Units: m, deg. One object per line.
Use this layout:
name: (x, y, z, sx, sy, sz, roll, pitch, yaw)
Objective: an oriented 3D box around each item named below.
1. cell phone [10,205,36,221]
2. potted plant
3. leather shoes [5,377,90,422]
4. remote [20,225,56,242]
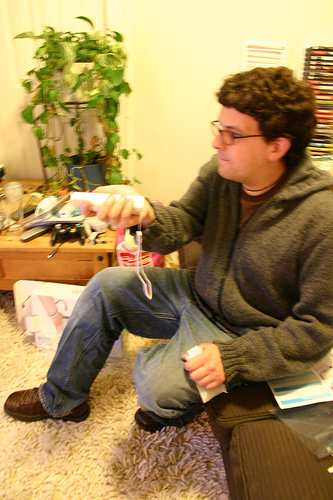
cell phone: (-0.650, -0.165, 1.674, 0.094, 0.021, 0.050, -24, 55, -28)
potted plant: (-0.412, -0.694, 1.705, 0.444, 0.825, 0.505, -22, 54, -20)
leather shoes: (-0.361, 0.478, 1.164, 0.252, 0.105, 0.107, 9, 28, -8)
remote: (-0.517, -0.072, 1.486, 0.040, 0.032, 0.136, -1, 23, 34)
